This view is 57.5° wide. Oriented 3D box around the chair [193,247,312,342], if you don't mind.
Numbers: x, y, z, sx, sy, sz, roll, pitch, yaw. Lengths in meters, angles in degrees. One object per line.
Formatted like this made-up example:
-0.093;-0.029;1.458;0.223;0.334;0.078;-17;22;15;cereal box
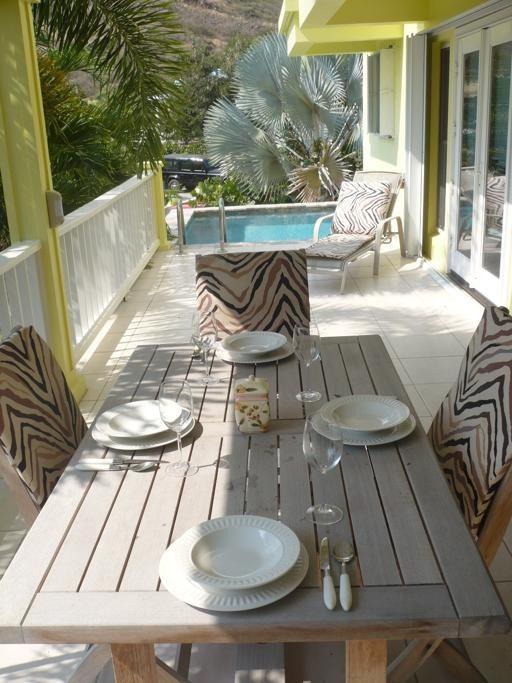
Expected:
-0.028;-0.283;2.614;0.489;0.600;0.496;-1;21;-7;chair

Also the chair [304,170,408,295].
1.337;-1.621;6.697;1.030;1.340;1.945;12;30;36;chair

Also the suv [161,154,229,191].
-2.665;-6.521;17.976;2.004;1.395;2.832;-18;26;-25;suv

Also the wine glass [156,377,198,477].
-0.206;0.223;1.240;0.097;0.241;0.094;-8;7;-29;wine glass

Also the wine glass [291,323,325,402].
0.181;0.069;1.613;0.106;0.260;0.110;5;21;25;wine glass

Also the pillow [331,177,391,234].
1.564;-2.049;6.850;0.801;0.855;0.307;13;-4;37;pillow

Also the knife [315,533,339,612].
0.116;0.377;0.767;0.023;0.039;0.019;3;24;-3;knife
